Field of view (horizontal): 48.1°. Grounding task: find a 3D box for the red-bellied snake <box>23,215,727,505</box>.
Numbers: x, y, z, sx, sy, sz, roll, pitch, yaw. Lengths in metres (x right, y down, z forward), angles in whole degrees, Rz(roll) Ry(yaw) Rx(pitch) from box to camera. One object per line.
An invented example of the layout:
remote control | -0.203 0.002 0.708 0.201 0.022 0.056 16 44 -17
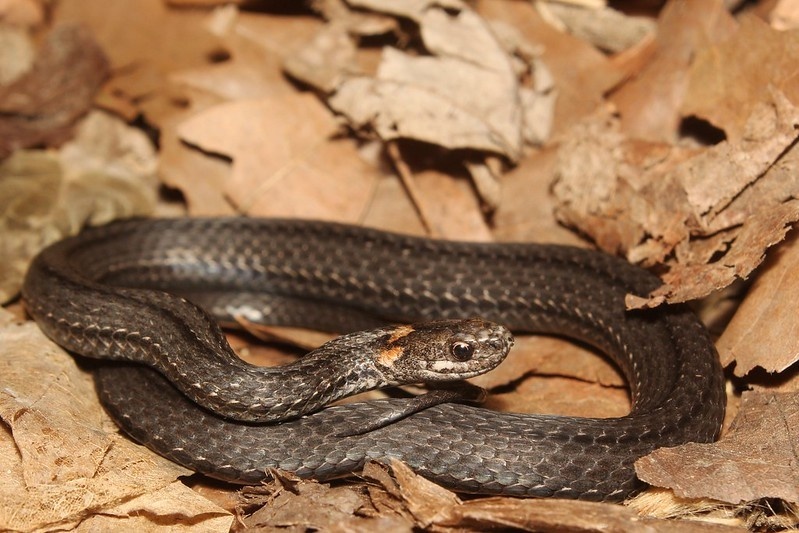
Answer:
red-bellied snake | -0.298 0.780 8.049 5.755 0.905 2.553 9 56 4
